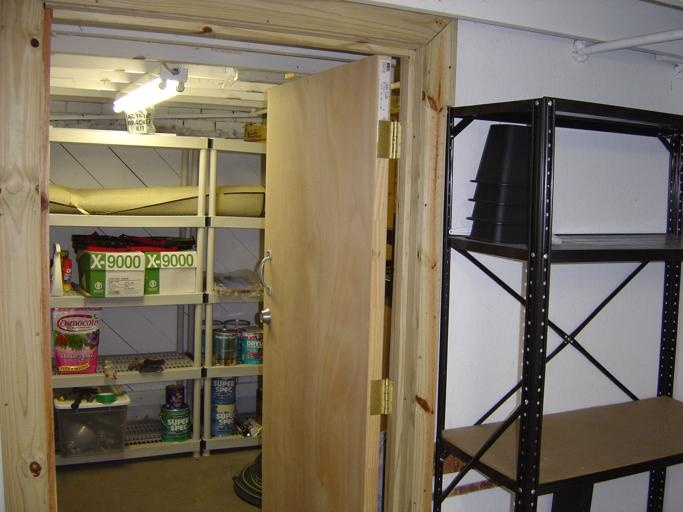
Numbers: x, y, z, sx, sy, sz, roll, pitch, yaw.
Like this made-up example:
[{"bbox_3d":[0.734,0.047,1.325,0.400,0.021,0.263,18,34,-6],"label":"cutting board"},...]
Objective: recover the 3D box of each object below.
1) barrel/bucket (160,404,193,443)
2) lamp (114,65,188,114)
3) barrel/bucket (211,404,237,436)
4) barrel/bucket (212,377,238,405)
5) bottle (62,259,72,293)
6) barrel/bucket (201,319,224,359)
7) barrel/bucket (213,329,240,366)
[{"bbox_3d":[-1.131,1.149,4.380,0.207,0.217,0.221,0,-3,0],"label":"barrel/bucket"},{"bbox_3d":[-1.095,-0.949,3.619,0.223,0.237,0.948,-4,1,-27],"label":"lamp"},{"bbox_3d":[-0.832,1.151,4.607,0.193,0.224,0.197,0,-2,0],"label":"barrel/bucket"},{"bbox_3d":[-0.826,0.960,4.583,0.159,0.180,0.166,0,-4,0],"label":"barrel/bucket"},{"bbox_3d":[-1.757,0.114,4.101,0.043,0.236,0.080,-3,1,-15],"label":"bottle"},{"bbox_3d":[-1.003,0.619,4.856,0.250,0.288,0.260,1,-1,0],"label":"barrel/bucket"},{"bbox_3d":[-0.794,0.620,4.430,0.211,0.236,0.210,2,-1,0],"label":"barrel/bucket"}]
